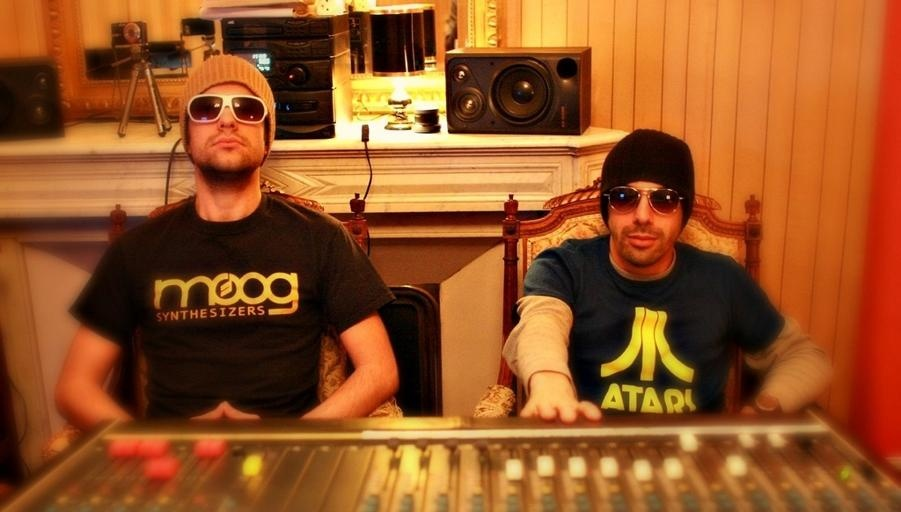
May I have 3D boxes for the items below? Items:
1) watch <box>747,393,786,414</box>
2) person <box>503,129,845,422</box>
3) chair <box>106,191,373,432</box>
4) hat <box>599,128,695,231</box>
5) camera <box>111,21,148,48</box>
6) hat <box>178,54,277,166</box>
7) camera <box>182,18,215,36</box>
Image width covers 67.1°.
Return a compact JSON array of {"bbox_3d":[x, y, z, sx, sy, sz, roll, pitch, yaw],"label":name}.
[{"bbox_3d":[1.039,0.487,2.220,0.120,0.047,0.071,-3,42,6],"label":"watch"},{"bbox_3d":[0.667,0.025,2.797,1.130,1.276,1.107,1,5,11],"label":"person"},{"bbox_3d":[-0.818,0.249,2.646,1.265,0.922,0.637,-1,5,-9],"label":"chair"},{"bbox_3d":[0.762,-0.265,2.659,0.293,0.300,0.382,7,-21,14],"label":"hat"},{"bbox_3d":[-1.643,-1.130,3.469,0.179,0.117,0.114,2,9,11],"label":"camera"},{"bbox_3d":[-0.868,-0.588,2.774,0.359,0.354,0.414,-1,0,-10],"label":"hat"},{"bbox_3d":[-1.307,-1.180,3.505,0.196,0.092,0.039,3,19,18],"label":"camera"}]
